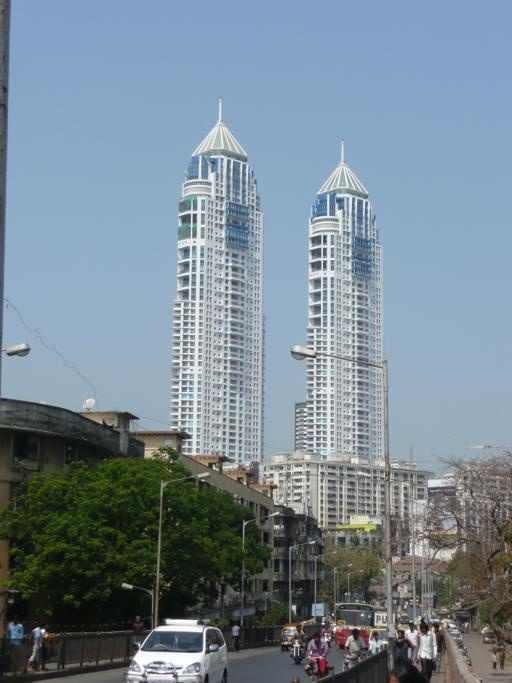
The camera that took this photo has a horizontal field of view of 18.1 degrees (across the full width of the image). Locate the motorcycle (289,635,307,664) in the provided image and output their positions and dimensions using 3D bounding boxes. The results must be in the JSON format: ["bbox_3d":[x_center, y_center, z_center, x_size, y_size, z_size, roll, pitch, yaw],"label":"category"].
[{"bbox_3d":[1.824,13.205,68.681,0.511,0.868,1.488,-2,-19,4],"label":"motorcycle"}]
